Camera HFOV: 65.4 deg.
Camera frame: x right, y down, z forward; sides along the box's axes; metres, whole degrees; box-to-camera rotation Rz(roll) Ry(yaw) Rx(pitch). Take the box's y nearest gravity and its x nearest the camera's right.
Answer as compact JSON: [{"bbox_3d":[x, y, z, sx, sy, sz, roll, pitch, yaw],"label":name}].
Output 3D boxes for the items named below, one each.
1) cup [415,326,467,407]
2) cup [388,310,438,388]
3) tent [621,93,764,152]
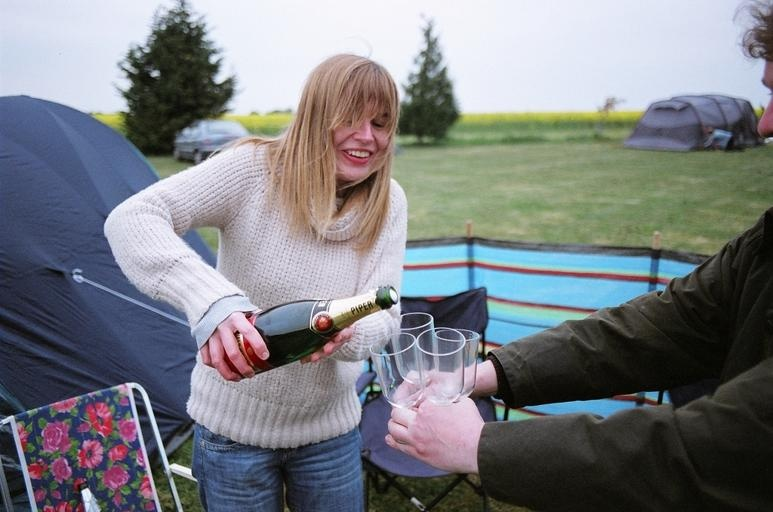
[{"bbox_3d":[0.221,0.432,2.389,0.248,0.381,0.240,-3,18,1],"label":"cup"},{"bbox_3d":[0.103,0.382,2.393,0.250,0.285,0.259,-1,8,0],"label":"cup"},{"bbox_3d":[1.929,-0.827,3.795,0.607,0.205,0.472,-8,10,-37],"label":"tent"}]
